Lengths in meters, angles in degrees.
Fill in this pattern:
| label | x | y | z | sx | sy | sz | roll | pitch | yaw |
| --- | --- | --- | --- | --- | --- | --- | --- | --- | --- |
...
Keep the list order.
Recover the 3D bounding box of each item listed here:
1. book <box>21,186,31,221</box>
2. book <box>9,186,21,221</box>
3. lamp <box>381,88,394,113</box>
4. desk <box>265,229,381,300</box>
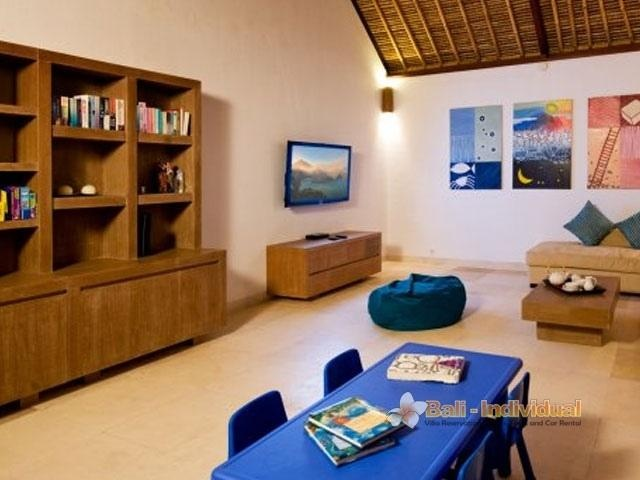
| label | x | y | z | sx | sy | sz | roll | pitch | yaw |
| --- | --- | --- | --- | --- | --- | --- | --- | --- | --- |
| book | -2.245 | -0.285 | 3.441 | 0.068 | 0.236 | 0.038 | -2 | 10 | -36 |
| book | -2.295 | -0.278 | 3.390 | 0.044 | 0.194 | 0.139 | -3 | 6 | -24 |
| lamp | 1.363 | -2.795 | 8.995 | 0.298 | 0.481 | 0.142 | 0 | 9 | -27 |
| desk | 0.113 | 0.378 | 6.782 | 0.622 | 0.835 | 1.957 | 11 | 11 | 40 |
